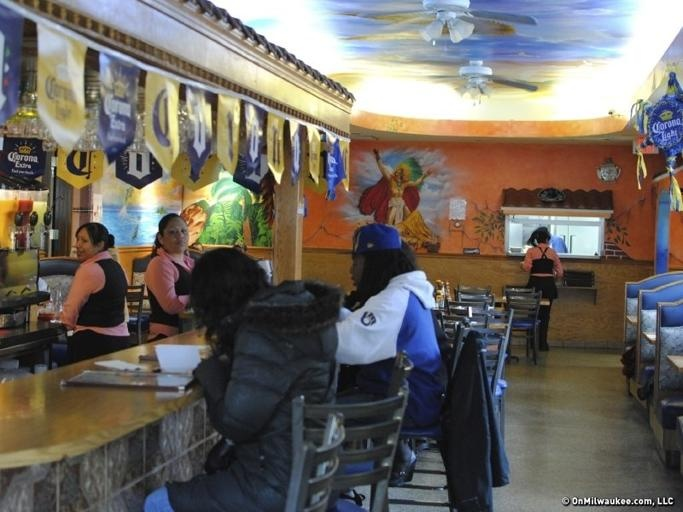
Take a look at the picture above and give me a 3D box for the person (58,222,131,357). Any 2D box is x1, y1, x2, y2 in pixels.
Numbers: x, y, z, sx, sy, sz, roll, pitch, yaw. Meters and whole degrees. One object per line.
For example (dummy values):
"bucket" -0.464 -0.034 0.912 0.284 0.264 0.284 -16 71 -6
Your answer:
"person" -1.824 0.283 4.322 0.464 1.068 0.353 1 2 -21

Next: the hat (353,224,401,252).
"hat" 0.200 -0.104 3.444 0.170 0.104 0.231 -4 1 -42

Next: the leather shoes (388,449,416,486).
"leather shoes" 0.363 1.196 3.320 0.103 0.278 0.145 3 13 -13

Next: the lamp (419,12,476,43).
"lamp" 1.047 -2.228 5.666 0.383 0.317 0.372 0 -5 -4
